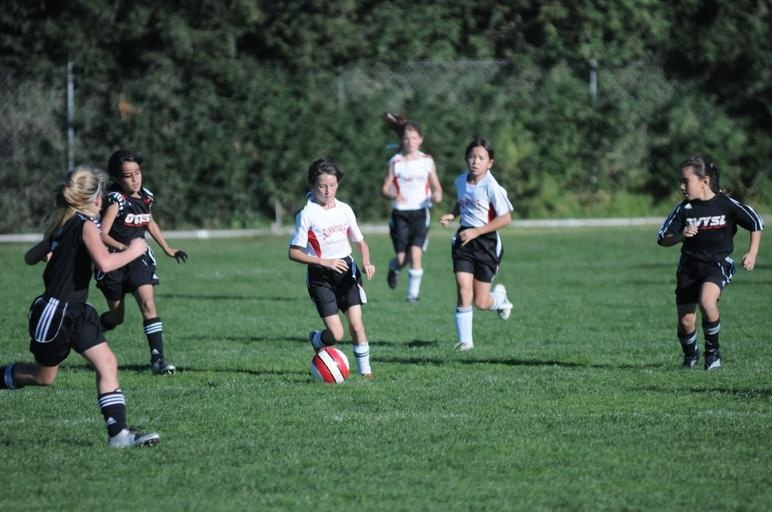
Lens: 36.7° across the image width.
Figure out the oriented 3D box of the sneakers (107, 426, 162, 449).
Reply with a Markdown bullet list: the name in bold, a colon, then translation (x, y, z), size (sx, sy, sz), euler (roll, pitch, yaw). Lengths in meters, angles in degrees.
- **sneakers**: translation (-2.708, 1.960, 12.559), size (0.589, 0.265, 0.216), euler (-4, -6, 1)

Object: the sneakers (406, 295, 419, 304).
- **sneakers**: translation (0.403, 0.637, 17.046), size (0.178, 0.094, 0.253), euler (-2, 14, -6)

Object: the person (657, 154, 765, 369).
- **person**: translation (3.804, 0.086, 13.782), size (1.102, 2.465, 0.617), euler (0, 13, 3)

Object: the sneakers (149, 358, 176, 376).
- **sneakers**: translation (-2.676, 1.323, 13.877), size (0.335, 0.169, 0.137), euler (1, 6, 35)

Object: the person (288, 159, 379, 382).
- **person**: translation (-0.670, 0.137, 13.718), size (0.917, 2.540, 0.645), euler (-2, 13, -6)

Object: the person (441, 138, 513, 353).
- **person**: translation (1.155, -0.192, 14.792), size (0.907, 2.632, 1.040), euler (-3, 13, -12)

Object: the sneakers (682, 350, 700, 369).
- **sneakers**: translation (3.648, 1.255, 13.896), size (0.147, 0.217, 0.210), euler (-1, -5, -3)

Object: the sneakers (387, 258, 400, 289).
- **sneakers**: translation (0.108, 0.272, 17.526), size (0.154, 0.499, 0.226), euler (-4, 24, -11)

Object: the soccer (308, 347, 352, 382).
- **soccer**: translation (-0.656, 1.293, 13.606), size (0.393, 0.416, 0.383), euler (0, -15, -18)

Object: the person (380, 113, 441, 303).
- **person**: translation (0.363, -0.726, 17.106), size (0.833, 2.793, 0.799), euler (-1, 13, 1)

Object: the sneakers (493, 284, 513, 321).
- **sneakers**: translation (1.583, 0.678, 15.530), size (0.207, 0.599, 0.265), euler (-14, 32, 15)
